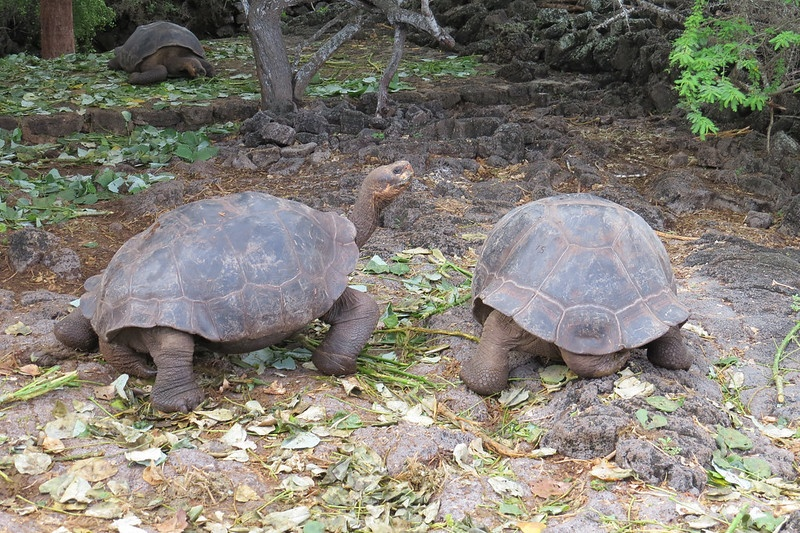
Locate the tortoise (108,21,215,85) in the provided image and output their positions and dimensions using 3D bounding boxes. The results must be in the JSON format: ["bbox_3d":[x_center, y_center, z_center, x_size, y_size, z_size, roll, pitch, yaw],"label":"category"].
[{"bbox_3d":[-3.740,-3.355,11.024,1.131,0.532,1.598,-14,24,-37],"label":"tortoise"}]

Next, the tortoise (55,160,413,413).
[{"bbox_3d":[-1.001,0.132,5.035,2.278,0.911,1.380,-14,35,-28],"label":"tortoise"}]
